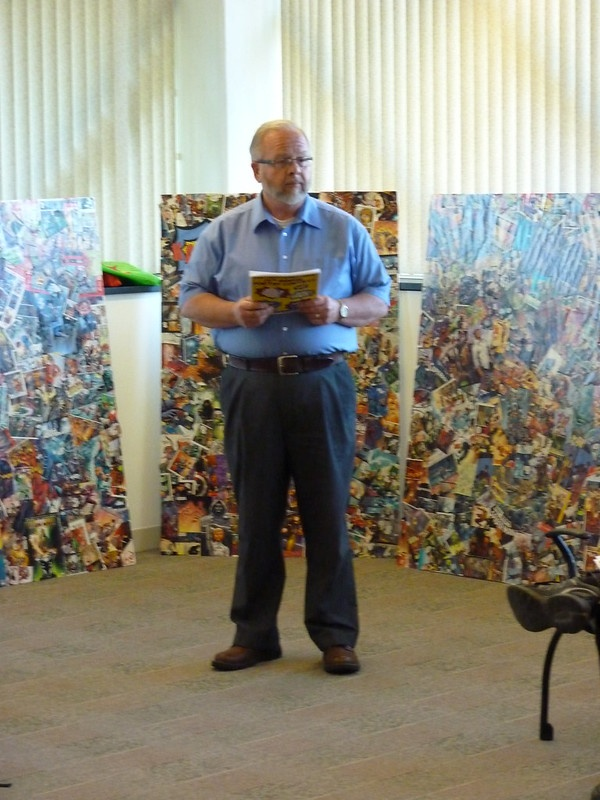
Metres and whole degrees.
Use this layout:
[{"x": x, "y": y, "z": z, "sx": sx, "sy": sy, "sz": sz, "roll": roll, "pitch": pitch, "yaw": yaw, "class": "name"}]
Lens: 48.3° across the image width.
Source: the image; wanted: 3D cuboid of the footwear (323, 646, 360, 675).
[{"x": 0.124, "y": 0.780, "z": 2.011, "sx": 0.061, "sy": 0.054, "sz": 0.121, "roll": 2, "pitch": -10, "yaw": -12, "class": "footwear"}]

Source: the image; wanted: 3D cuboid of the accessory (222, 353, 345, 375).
[{"x": -0.053, "y": -0.104, "z": 1.948, "sx": 0.351, "sy": 0.056, "sz": 0.161, "roll": -2, "pitch": -1, "yaw": 0, "class": "accessory"}]

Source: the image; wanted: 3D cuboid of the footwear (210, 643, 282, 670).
[{"x": -0.167, "y": 0.801, "z": 2.145, "sx": 0.209, "sy": 0.077, "sz": 0.072, "roll": 3, "pitch": -1, "yaw": -28, "class": "footwear"}]

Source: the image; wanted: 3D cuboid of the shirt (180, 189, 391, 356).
[{"x": -0.029, "y": -0.379, "z": 2.023, "sx": 0.678, "sy": 0.429, "sz": 0.286, "roll": 2, "pitch": 16, "yaw": 8, "class": "shirt"}]

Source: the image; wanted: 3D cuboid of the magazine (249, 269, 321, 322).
[{"x": -0.037, "y": -0.274, "z": 1.652, "sx": 0.161, "sy": 0.093, "sz": 0.194, "roll": -3, "pitch": -1, "yaw": -3, "class": "magazine"}]

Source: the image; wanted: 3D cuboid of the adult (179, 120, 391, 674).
[{"x": -0.016, "y": -0.004, "z": 1.973, "sx": 0.768, "sy": 1.608, "sz": 0.585, "roll": 0, "pitch": -1, "yaw": -9, "class": "adult"}]
